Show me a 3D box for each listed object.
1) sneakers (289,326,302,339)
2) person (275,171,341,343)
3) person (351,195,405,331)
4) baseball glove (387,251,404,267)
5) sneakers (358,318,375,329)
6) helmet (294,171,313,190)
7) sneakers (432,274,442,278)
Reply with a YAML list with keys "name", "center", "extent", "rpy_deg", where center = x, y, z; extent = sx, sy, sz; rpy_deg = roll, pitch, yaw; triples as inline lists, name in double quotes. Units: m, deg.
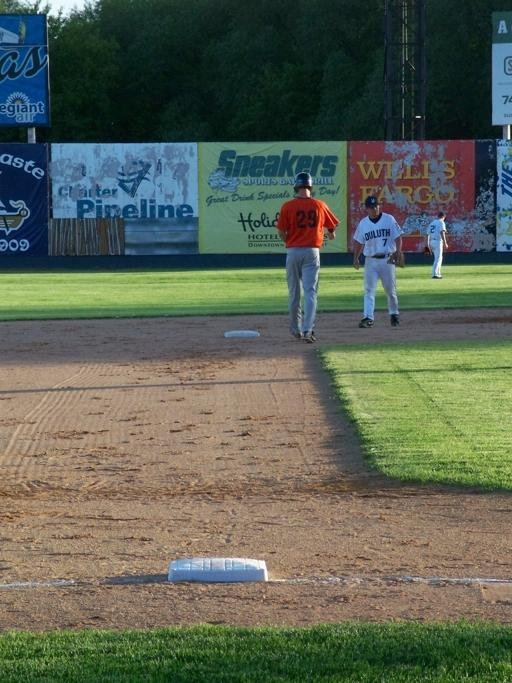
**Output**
- name: "sneakers"
  center: [0.399, -0.094, 14.081]
  extent: [0.081, 0.119, 0.262]
  rpy_deg: [-2, 7, -2]
- name: "person"
  center: [0.489, -0.774, 13.469]
  extent: [0.538, 1.635, 0.616]
  rpy_deg: [0, 6, 2]
- name: "person"
  center: [1.326, -0.854, 15.353]
  extent: [0.514, 1.430, 1.500]
  rpy_deg: [0, 6, 4]
- name: "baseball glove"
  center: [1.471, -0.865, 14.811]
  extent: [0.151, 0.167, 0.082]
  rpy_deg: [24, 4, 4]
- name: "sneakers"
  center: [1.203, -0.204, 15.234]
  extent: [0.143, 0.111, 0.080]
  rpy_deg: [4, 1, -3]
- name: "helmet"
  center: [0.451, -1.501, 13.461]
  extent: [0.145, 0.167, 0.205]
  rpy_deg: [4, 23, 4]
- name: "sneakers"
  center: [3.252, -1.191, 25.566]
  extent: [0.195, 0.093, 0.073]
  rpy_deg: [-2, 0, 39]
